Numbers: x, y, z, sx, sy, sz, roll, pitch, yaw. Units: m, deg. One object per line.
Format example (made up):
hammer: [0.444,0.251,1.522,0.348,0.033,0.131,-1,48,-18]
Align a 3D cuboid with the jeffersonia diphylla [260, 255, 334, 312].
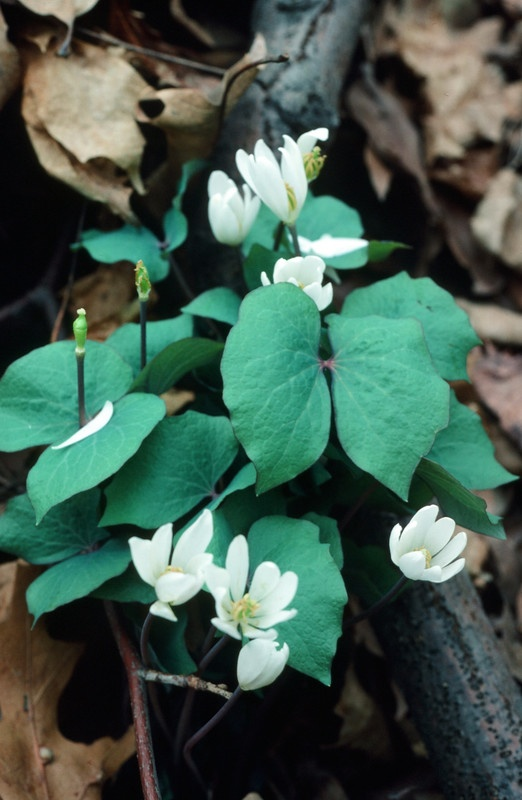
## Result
jeffersonia diphylla: [0.049,-0.187,1.156,0.099,0.062,0.089,39,51,18]

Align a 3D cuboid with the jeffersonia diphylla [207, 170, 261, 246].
jeffersonia diphylla: [-0.037,-0.341,1.274,0.092,0.113,0.107,3,25,-8]

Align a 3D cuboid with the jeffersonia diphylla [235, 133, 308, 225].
jeffersonia diphylla: [0.016,-0.366,1.161,0.081,0.144,0.122,-23,56,-24]

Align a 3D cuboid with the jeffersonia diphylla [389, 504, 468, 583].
jeffersonia diphylla: [0.230,0.220,1.046,0.105,0.091,0.116,25,32,2]

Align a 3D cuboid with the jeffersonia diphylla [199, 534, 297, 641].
jeffersonia diphylla: [-0.022,0.252,0.978,0.121,0.088,0.137,13,70,-15]

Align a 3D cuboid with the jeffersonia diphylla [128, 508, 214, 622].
jeffersonia diphylla: [-0.114,0.226,0.930,0.120,0.080,0.139,17,6,6]
